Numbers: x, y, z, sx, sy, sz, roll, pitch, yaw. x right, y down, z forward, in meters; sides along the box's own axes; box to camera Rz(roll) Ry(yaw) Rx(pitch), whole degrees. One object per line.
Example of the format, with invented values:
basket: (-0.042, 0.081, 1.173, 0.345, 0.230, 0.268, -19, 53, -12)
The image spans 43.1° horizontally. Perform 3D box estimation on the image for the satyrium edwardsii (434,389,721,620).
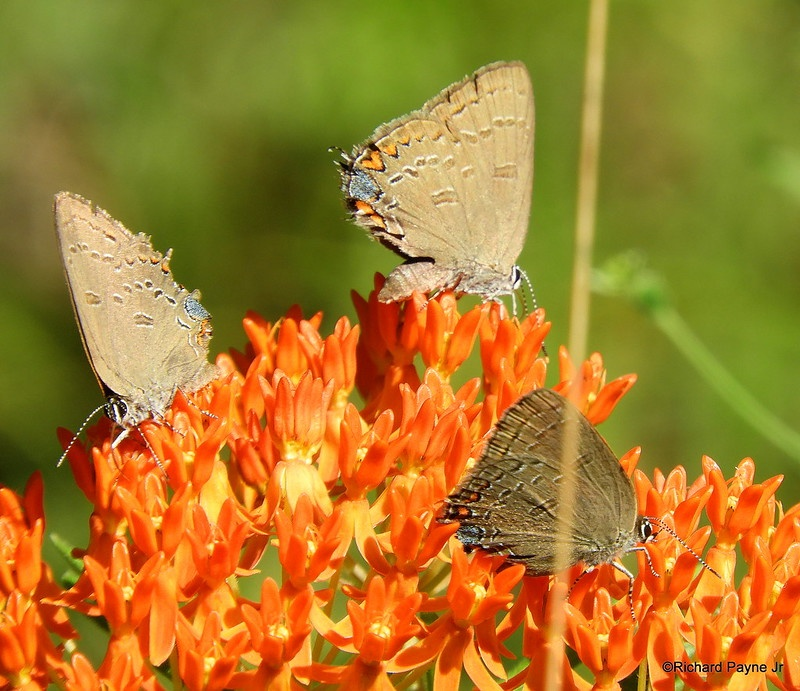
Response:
satyrium edwardsii: (0.321, 0.261, 1.852, 0.464, 0.391, 0.388, 6, 6, -2)

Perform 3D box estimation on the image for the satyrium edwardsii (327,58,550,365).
satyrium edwardsii: (0.021, -0.419, 2.462, 0.513, 0.765, 0.449, -1, 12, -7)
